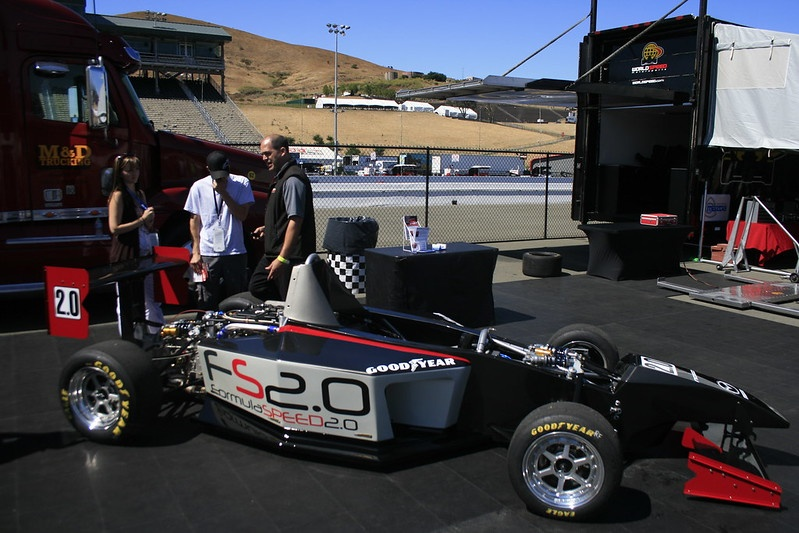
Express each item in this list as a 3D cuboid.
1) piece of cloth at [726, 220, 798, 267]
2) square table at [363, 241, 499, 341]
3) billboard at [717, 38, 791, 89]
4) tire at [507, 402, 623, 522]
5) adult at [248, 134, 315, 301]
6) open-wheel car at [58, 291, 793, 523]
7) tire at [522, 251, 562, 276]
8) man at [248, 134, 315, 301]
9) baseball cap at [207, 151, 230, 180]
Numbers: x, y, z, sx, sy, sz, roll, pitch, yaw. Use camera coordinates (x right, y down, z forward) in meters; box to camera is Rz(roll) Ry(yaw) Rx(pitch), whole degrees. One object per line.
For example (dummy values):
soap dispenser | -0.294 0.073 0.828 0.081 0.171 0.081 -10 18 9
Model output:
piece of cloth | 7.173 -0.537 13.143 1.035 0.607 1.184 -6 12 -22
square table | 0.358 0.167 8.962 1.898 1.261 1.072 -4 12 -30
billboard | 6.617 -3.772 12.343 0.168 0.784 1.118 -11 14 -41
tire | 1.305 1.577 5.236 0.699 0.690 0.277 30 12 17
adult | -1.241 -0.484 6.984 0.660 1.776 0.531 3 11 22
open-wheel car | 0.085 1.114 5.726 5.097 1.151 2.578 4 8 17
tire | 2.569 -0.018 12.045 0.671 0.418 0.383 -2 10 0
man | -1.244 -0.484 6.985 0.665 1.776 0.531 3 11 22
baseball cap | -2.021 -1.142 7.385 0.218 0.328 0.181 -12 -31 -15
